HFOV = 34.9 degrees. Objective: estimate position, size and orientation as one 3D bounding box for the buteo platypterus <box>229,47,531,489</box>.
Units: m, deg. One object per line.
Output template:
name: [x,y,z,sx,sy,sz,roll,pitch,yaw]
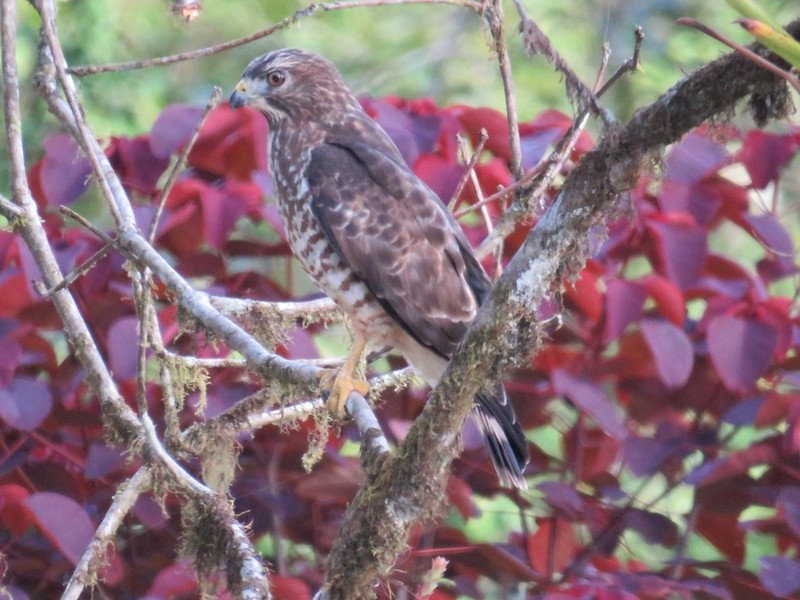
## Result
buteo platypterus: [-0.102,-0.132,4.865,1.151,1.918,0.400,-1,-28,5]
